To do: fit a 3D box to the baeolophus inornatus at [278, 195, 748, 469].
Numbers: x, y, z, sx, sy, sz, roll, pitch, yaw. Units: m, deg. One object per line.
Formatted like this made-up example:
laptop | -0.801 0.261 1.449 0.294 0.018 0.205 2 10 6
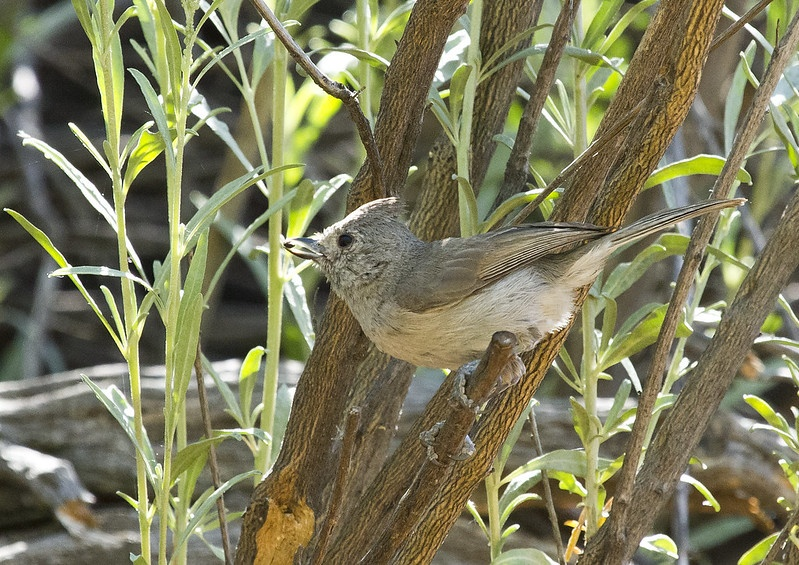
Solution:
baeolophus inornatus | 0.415 0.027 3.033 1.469 0.707 0.375 -6 1 4
